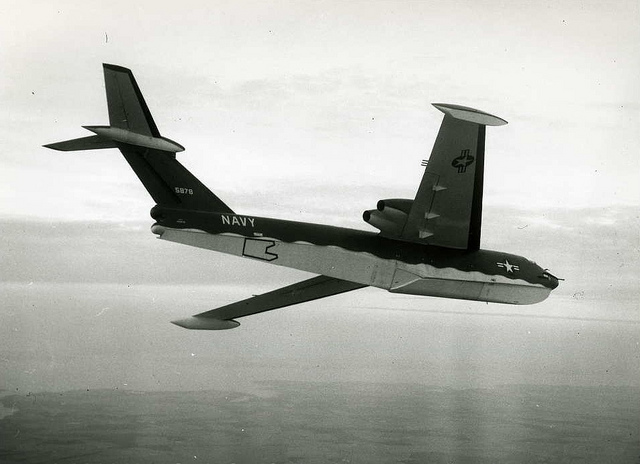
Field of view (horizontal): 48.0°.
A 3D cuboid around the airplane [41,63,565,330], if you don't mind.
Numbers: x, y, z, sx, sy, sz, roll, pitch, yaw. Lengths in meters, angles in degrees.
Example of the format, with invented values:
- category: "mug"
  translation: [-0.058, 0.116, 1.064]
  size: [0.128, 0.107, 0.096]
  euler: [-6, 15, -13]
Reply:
- category: "airplane"
  translation: [0.157, -0.173, 5.261]
  size: [3.766, 0.949, 2.996]
  euler: [12, -13, -17]
